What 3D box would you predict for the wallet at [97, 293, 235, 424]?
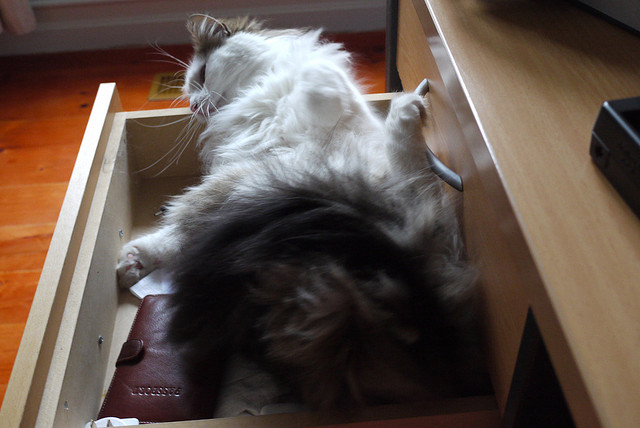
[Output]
[{"bbox_3d":[-0.251,0.197,0.935,0.193,0.078,0.269,-2,47,12],"label":"wallet"}]
